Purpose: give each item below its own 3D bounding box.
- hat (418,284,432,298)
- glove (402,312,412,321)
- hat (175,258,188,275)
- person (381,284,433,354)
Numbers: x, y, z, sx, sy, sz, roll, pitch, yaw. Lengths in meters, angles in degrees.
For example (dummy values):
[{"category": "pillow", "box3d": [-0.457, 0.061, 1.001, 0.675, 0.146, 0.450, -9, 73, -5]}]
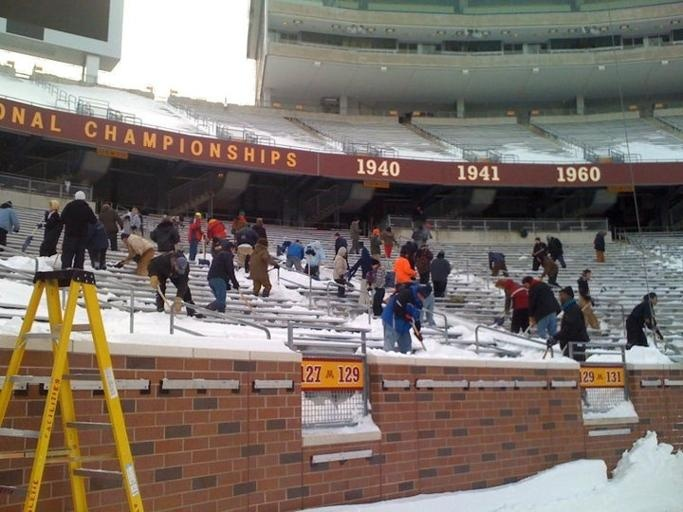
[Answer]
[{"category": "hat", "box3d": [2.176, 0.855, 26.553, 0.285, 0.385, 0.389, 7, 17, -7]}, {"category": "glove", "box3d": [1.683, 1.462, 25.961, 0.153, 0.215, 0.068, 4, -3, -9]}, {"category": "hat", "box3d": [-3.987, 0.233, 26.868, 0.293, 0.423, 0.213, -10, -16, -42]}, {"category": "person", "box3d": [1.588, 1.684, 26.396, 0.946, 2.298, 0.906, 3, 23, -19]}]
